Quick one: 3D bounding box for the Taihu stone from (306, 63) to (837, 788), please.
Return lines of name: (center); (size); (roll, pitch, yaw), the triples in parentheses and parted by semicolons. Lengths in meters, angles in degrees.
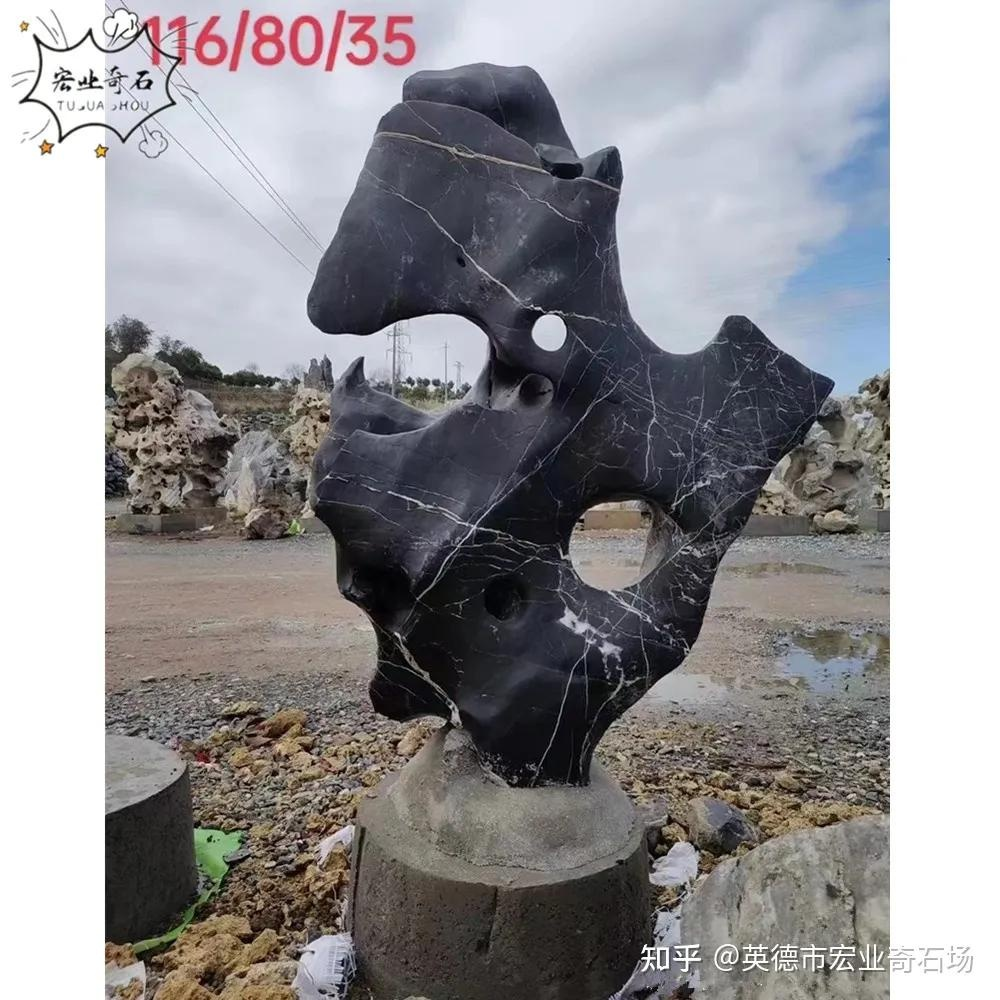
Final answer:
Taihu stone: (0.116, -0.210, 2.303); (1.258, 1.965, 0.604); (3, 2, -13)
